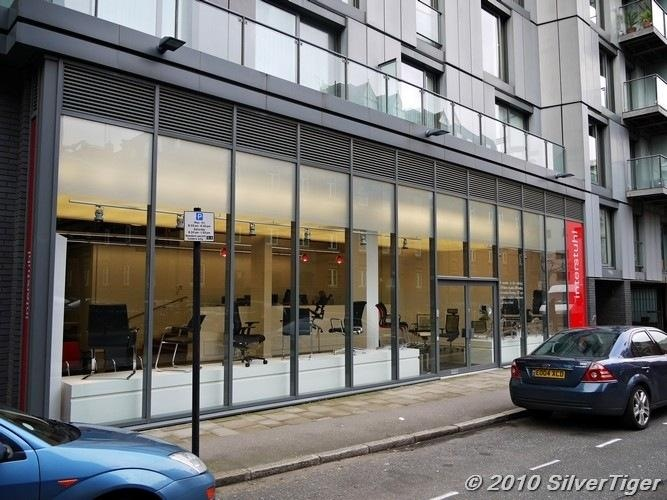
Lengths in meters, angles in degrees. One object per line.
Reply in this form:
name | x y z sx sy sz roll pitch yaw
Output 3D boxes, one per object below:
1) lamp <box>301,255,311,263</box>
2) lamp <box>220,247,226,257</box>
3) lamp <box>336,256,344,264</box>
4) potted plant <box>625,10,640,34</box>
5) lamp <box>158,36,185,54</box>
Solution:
lamp | -0.593 0.172 12.427 0.040 0.194 0.232 1 1 40
lamp | -2.173 0.042 11.656 0.146 0.178 0.187 -3 4 -19
lamp | 0.162 0.204 12.898 0.127 0.169 0.078 0 -5 -20
potted plant | 12.099 -9.316 23.921 0.601 1.008 0.487 1 1 38
lamp | -2.809 -3.595 10.340 0.483 0.255 0.406 0 1 -27
